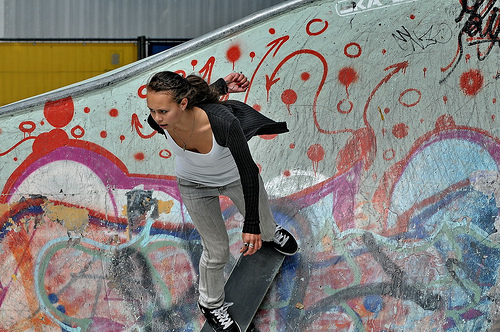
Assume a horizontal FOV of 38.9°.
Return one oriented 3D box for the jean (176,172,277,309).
[{"bbox_3d":[-0.335,0.735,9.386,0.922,1.929,0.459,-9,11,19],"label":"jean"}]
